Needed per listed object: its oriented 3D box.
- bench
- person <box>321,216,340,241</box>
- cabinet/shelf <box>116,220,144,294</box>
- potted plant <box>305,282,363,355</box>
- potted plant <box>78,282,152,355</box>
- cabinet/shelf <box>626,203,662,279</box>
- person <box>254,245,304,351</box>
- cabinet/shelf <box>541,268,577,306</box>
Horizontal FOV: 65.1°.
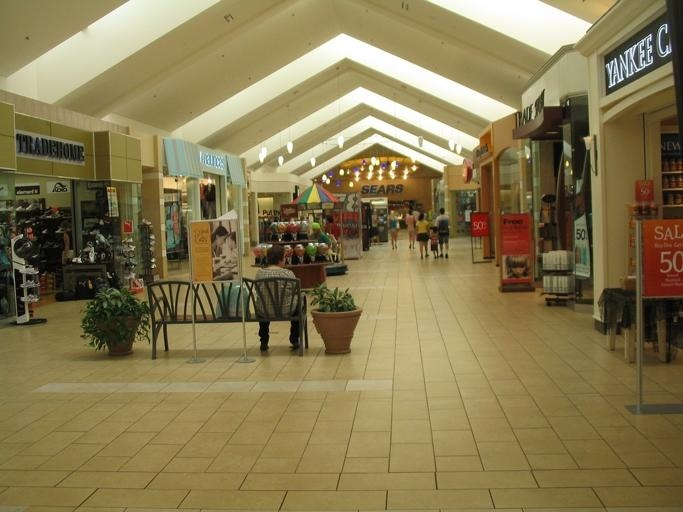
[{"bbox_3d":[-1.417,0.847,7.556,1.921,1.117,0.679,-2,1,-1],"label":"bench"},{"bbox_3d":[-0.174,-1.087,20.715,0.583,0.919,0.223,-3,7,8],"label":"person"},{"bbox_3d":[-5.222,0.014,14.387,0.409,2.006,0.650,1,10,-6],"label":"cabinet/shelf"},{"bbox_3d":[-0.046,0.874,7.410,0.745,1.054,0.806,0,-3,-7],"label":"potted plant"},{"bbox_3d":[-2.923,0.879,7.724,0.891,0.956,0.947,0,-5,-7],"label":"potted plant"},{"bbox_3d":[4.000,-0.229,7.448,0.390,1.002,0.655,-2,2,28],"label":"cabinet/shelf"},{"bbox_3d":[-0.749,0.601,7.469,0.773,1.527,0.772,-4,7,-38],"label":"person"},{"bbox_3d":[4.001,0.630,10.337,0.567,0.592,0.478,0,4,3],"label":"cabinet/shelf"}]
